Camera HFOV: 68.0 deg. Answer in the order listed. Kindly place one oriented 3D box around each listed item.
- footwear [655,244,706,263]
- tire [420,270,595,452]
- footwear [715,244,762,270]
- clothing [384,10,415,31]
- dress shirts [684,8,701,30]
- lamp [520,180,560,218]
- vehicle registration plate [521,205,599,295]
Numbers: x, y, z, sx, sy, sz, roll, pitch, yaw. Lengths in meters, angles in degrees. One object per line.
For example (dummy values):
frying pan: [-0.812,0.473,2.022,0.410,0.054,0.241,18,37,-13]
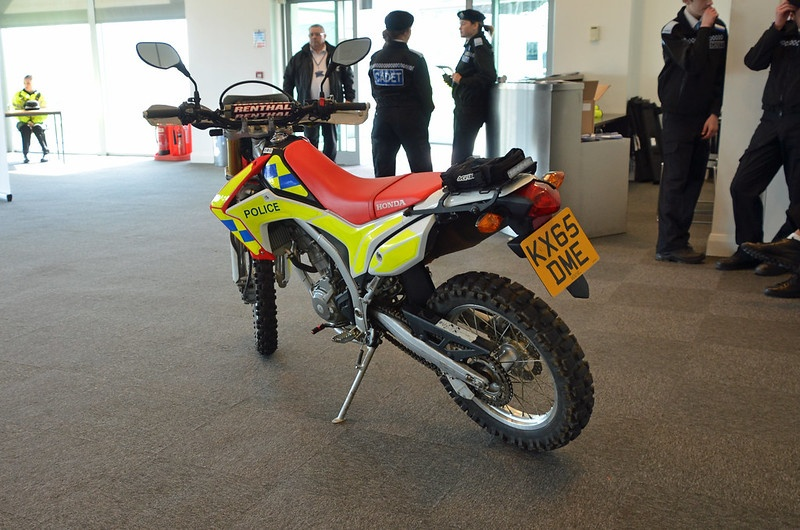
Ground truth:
footwear: [2.433,-0.112,5.222,0.407,0.194,0.163,1,17,13]
tire: [0.472,0.477,2.818,0.205,0.888,0.883,-31,22,-34]
footwear: [2.796,-0.061,4.958,0.409,0.188,0.147,1,15,2]
clothing: [-0.016,-2.479,6.039,0.290,0.217,0.163,-2,17,-3]
dress shirts: [2.481,-2.102,5.051,0.130,0.187,0.103,6,18,22]
lamp: [0.557,-0.264,2.451,0.119,0.079,0.167,-33,52,-29]
vehicle registration plate: [0.666,-0.057,2.464,0.377,0.269,0.003,-32,6,-35]
